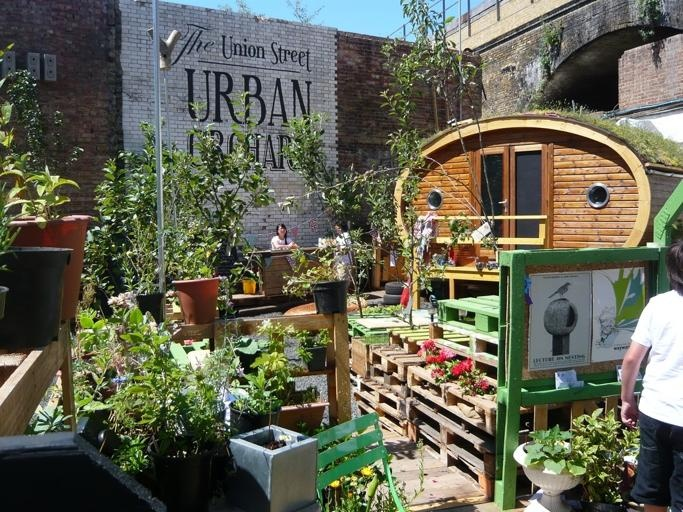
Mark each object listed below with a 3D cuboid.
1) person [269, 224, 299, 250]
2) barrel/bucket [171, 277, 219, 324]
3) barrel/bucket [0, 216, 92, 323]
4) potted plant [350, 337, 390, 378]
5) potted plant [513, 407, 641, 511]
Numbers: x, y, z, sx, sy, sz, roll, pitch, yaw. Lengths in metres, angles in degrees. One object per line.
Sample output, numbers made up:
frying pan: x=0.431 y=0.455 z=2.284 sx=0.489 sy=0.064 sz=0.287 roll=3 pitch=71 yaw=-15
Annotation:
person: x=-1.308 y=-0.441 z=12.767 sx=0.531 sy=0.664 sz=0.704 roll=-1 pitch=-2 yaw=-32
barrel/bucket: x=-1.004 y=0.295 z=3.800 sx=0.343 sy=0.311 sz=0.340 roll=-2 pitch=4 yaw=0
barrel/bucket: x=-1.205 y=0.026 z=2.433 sx=0.395 sy=0.430 sz=0.408 roll=1 pitch=7 yaw=0
potted plant: x=0.400 y=1.131 z=6.446 sx=0.509 sy=0.336 sz=0.359 roll=-9 pitch=9 yaw=-33
potted plant: x=1.563 y=1.253 z=3.748 sx=0.619 sy=0.540 sz=0.651 roll=-3 pitch=-10 yaw=38
